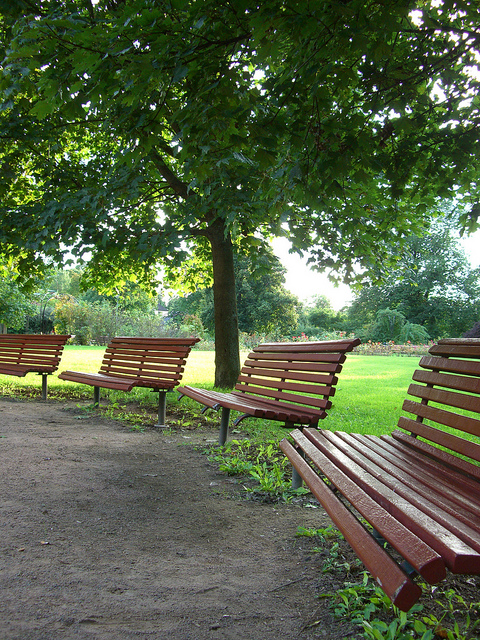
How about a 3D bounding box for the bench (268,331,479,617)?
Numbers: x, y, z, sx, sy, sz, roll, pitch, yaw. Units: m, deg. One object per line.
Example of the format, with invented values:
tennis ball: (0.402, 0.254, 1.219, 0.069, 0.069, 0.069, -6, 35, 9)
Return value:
bench: (0.726, 0.837, 3.049, 0.966, 0.711, 1.529, 1, -1, -8)
